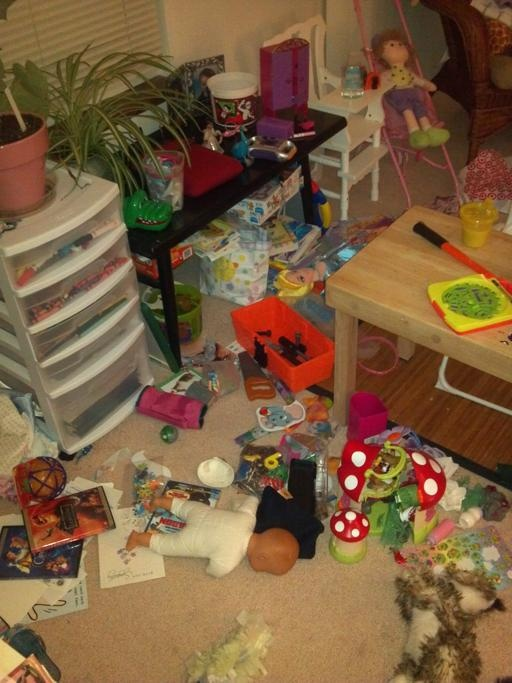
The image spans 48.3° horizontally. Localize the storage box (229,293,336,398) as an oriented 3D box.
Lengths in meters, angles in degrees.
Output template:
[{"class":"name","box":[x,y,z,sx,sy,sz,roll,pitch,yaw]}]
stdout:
[{"class":"storage box","box":[0.084,0.005,2.229,0.266,0.174,0.469,-29,51,-21]}]
